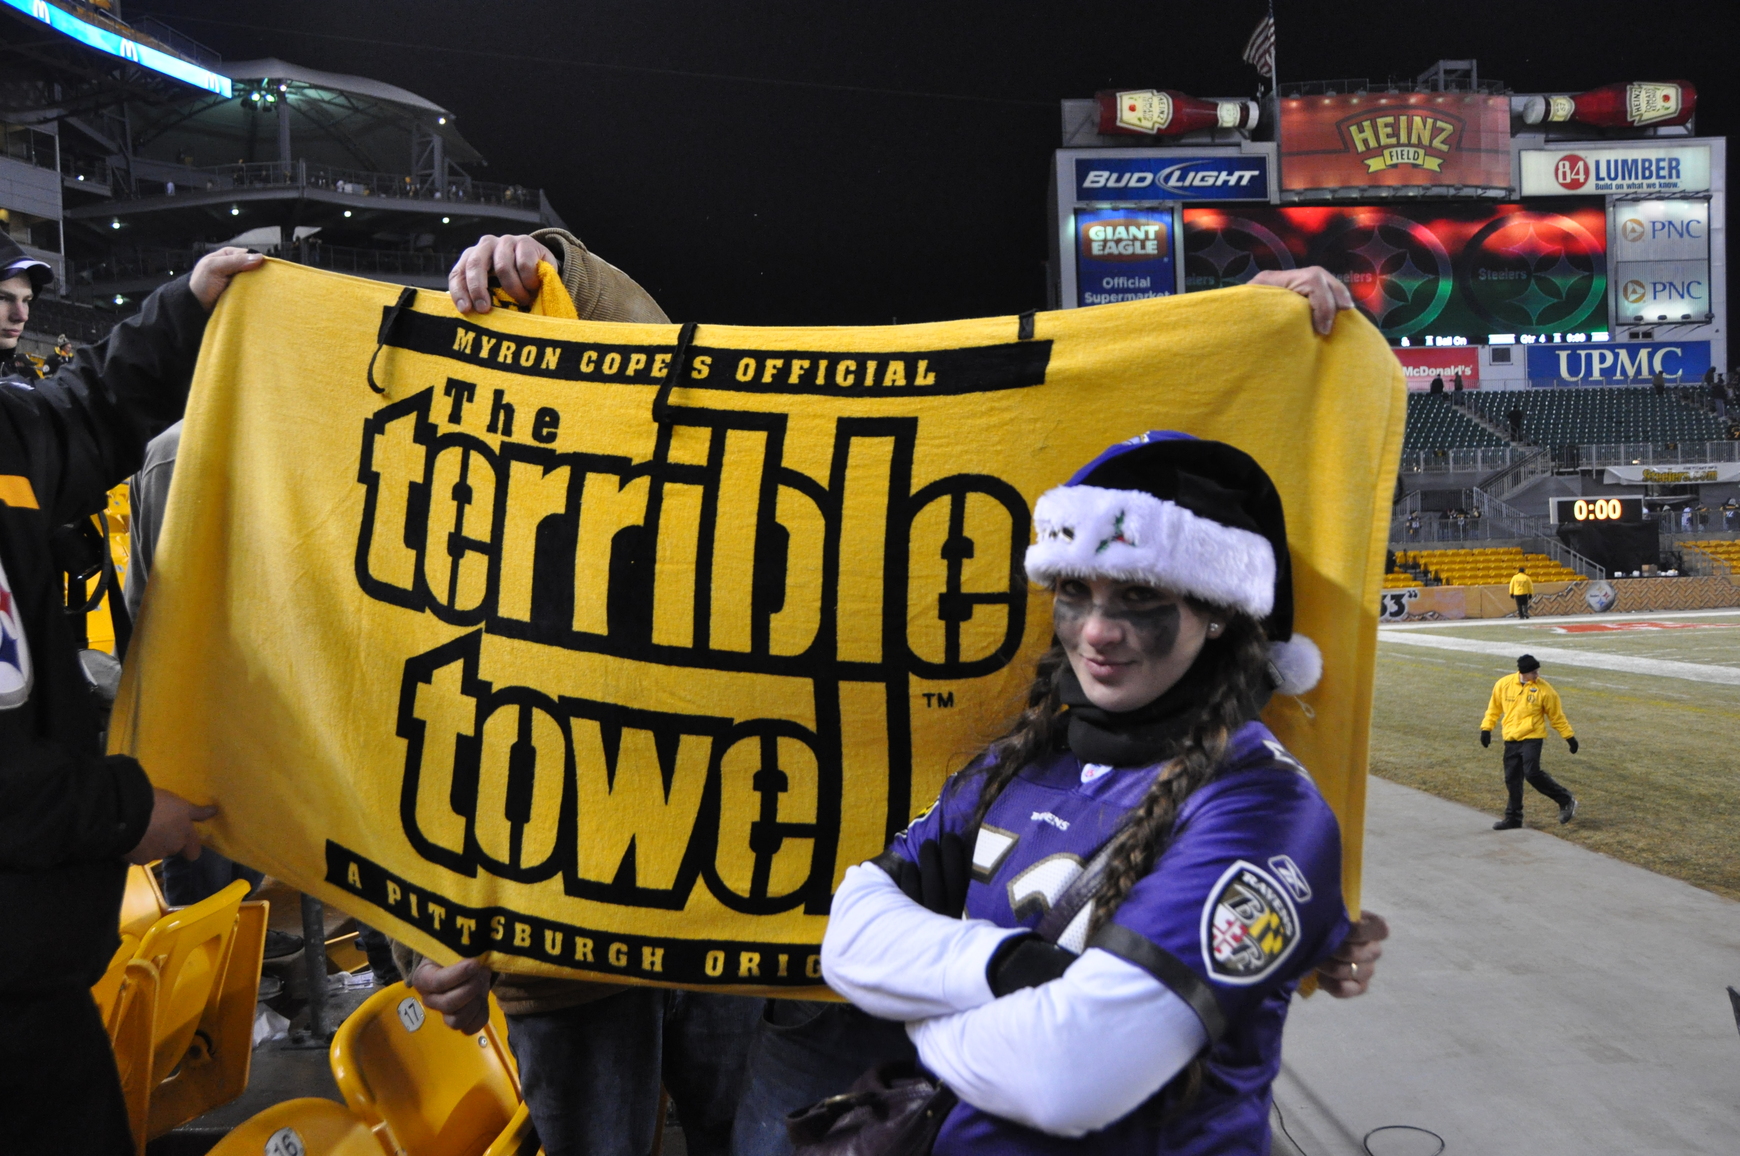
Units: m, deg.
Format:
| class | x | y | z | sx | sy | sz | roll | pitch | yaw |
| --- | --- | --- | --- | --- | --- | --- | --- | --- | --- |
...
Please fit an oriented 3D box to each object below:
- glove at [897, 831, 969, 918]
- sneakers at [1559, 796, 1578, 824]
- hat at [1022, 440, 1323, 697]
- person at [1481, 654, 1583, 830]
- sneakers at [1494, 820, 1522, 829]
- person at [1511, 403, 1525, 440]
| class | x | y | z | sx | sy | sz | roll | pitch | yaw |
| --- | --- | --- | --- | --- | --- | --- | --- | --- | --- |
| glove | 0.224 | 0.979 | 5.118 | 0.236 | 0.242 | 0.105 | 0 | -11 | 5 |
| sneakers | 5.069 | 1.714 | 11.335 | 0.114 | 0.270 | 0.089 | 8 | -24 | 9 |
| hat | 1.017 | -0.071 | 5.466 | 0.965 | 0.786 | 0.751 | 13 | -22 | -16 |
| person | 4.944 | 1.191 | 11.736 | 0.658 | 1.180 | 1.590 | 0 | 6 | 23 |
| sneakers | 4.554 | 1.748 | 11.168 | 0.180 | 0.080 | 0.063 | 5 | -1 | 12 |
| person | 17.118 | -4.162 | 41.328 | 0.334 | 0.879 | 1.822 | 0 | 6 | 22 |
